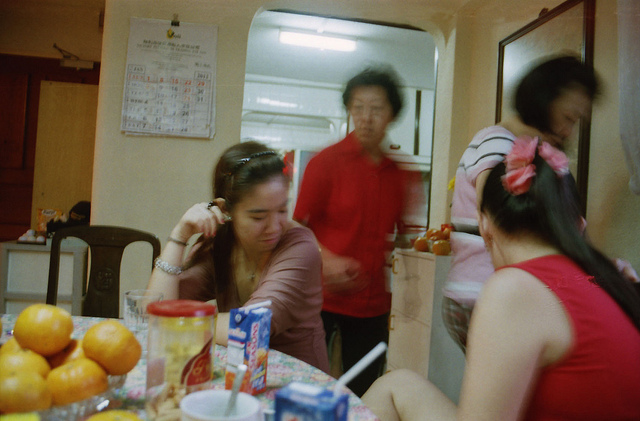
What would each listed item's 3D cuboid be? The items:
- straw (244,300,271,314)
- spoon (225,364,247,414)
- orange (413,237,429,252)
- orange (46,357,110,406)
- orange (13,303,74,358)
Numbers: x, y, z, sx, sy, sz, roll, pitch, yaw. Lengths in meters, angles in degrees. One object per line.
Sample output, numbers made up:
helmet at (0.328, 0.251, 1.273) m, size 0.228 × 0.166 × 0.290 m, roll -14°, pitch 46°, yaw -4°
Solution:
straw at (-0.125, 0.187, 0.956) m, size 0.049 × 0.013 × 0.014 m, roll -15°, pitch 41°, yaw -34°
spoon at (-0.124, 0.253, 0.703) m, size 0.025 × 0.064 × 0.048 m, roll 3°, pitch 1°, yaw -10°
orange at (0.211, 0.074, 1.020) m, size 0.030 × 0.035 × 0.031 m, roll -15°, pitch 20°, yaw 13°
orange at (-0.399, 0.273, 0.794) m, size 0.070 × 0.067 × 0.067 m, roll -22°, pitch -10°, yaw -30°
orange at (-0.498, 0.214, 0.871) m, size 0.097 × 0.090 × 0.094 m, roll 5°, pitch -1°, yaw -5°
